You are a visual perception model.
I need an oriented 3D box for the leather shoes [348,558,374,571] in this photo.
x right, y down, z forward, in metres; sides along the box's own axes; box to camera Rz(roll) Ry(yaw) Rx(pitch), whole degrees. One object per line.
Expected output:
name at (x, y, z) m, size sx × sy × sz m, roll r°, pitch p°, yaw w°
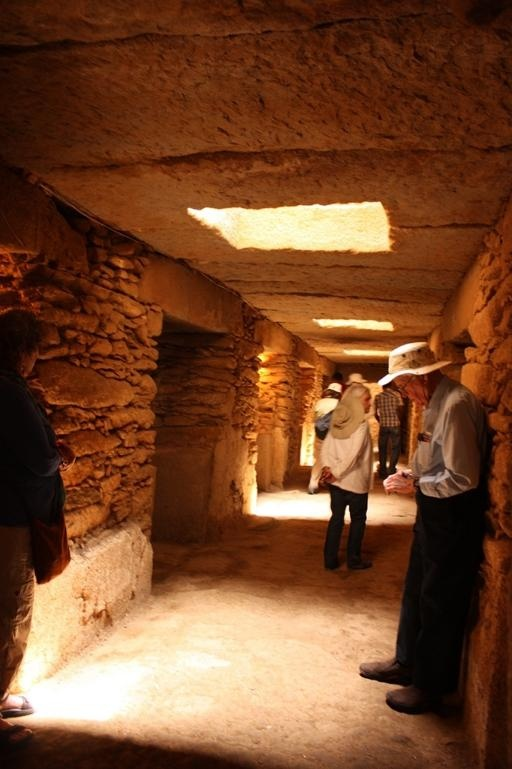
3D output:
leather shoes at (0.765, 1.349, 4.430) m, size 0.204 × 0.119 × 0.076 m, roll -2°, pitch 1°, yaw -8°

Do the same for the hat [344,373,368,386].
hat at (1.717, -0.090, 10.111) m, size 0.411 × 0.167 × 0.452 m, roll 2°, pitch -2°, yaw 3°

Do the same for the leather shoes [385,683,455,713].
leather shoes at (0.677, 1.343, 2.505) m, size 0.290 × 0.109 × 0.106 m, roll 5°, pitch -8°, yaw -1°

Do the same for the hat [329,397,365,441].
hat at (0.681, 0.264, 4.521) m, size 0.128 × 0.268 × 0.314 m, roll 8°, pitch -16°, yaw -24°

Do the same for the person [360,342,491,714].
person at (0.761, 0.599, 2.569) m, size 0.320 × 1.491 × 0.525 m, roll 4°, pitch 0°, yaw -23°

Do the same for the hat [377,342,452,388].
hat at (0.751, -0.097, 2.747) m, size 0.252 × 0.114 × 0.225 m, roll -7°, pitch 0°, yaw 5°

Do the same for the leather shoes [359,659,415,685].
leather shoes at (0.626, 1.360, 2.823) m, size 0.249 × 0.100 × 0.086 m, roll 7°, pitch -9°, yaw 15°
